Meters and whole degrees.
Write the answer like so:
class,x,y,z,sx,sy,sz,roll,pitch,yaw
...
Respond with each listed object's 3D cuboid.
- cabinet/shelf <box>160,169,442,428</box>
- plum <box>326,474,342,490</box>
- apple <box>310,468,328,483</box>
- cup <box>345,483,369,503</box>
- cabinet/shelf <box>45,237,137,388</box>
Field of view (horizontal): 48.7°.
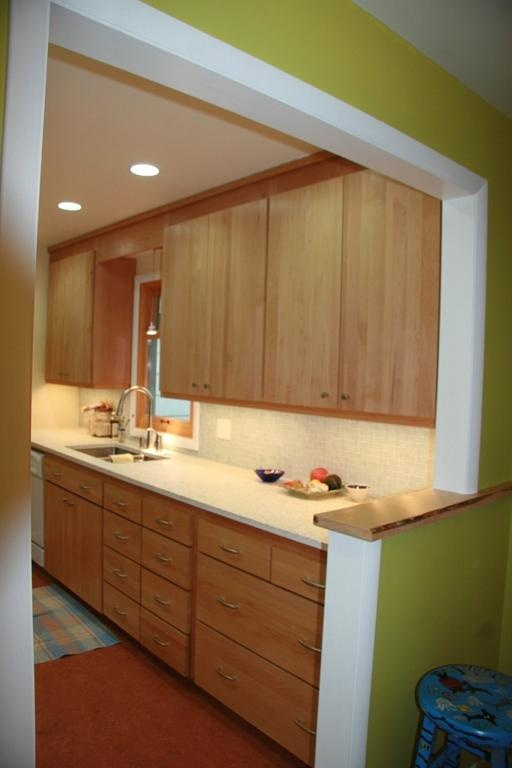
class,x,y,z,sx,sy,sz,roll,pitch,yaw
cabinet/shelf,0.107,-0.315,2.392,1.408,0.910,0.214,3,1,42
plum,0.313,0.400,2.290,0.055,0.060,0.055,-2,6,-18
apple,0.261,0.381,2.351,0.050,0.057,0.052,7,-16,-33
cup,0.395,0.427,2.215,0.056,0.040,0.060,-2,4,0
cabinet/shelf,-1.180,-0.453,4.051,0.318,0.945,0.799,0,1,-43
